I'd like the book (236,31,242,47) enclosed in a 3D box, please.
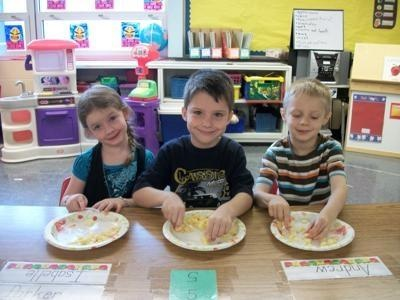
[{"bbox_3d":[0.512,-1.427,3.989,0.082,0.193,0.071,-1,19,3],"label":"book"}]

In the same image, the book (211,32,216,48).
[{"bbox_3d":[0.169,-1.438,4.021,0.075,0.193,0.190,-1,19,2],"label":"book"}]

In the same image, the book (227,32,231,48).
[{"bbox_3d":[0.376,-1.436,4.021,0.068,0.190,0.199,1,19,8],"label":"book"}]

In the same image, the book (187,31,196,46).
[{"bbox_3d":[-0.112,-1.434,4.004,0.096,0.197,0.124,3,19,16],"label":"book"}]

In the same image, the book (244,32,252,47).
[{"bbox_3d":[0.619,-1.441,4.065,0.127,0.200,0.381,1,18,9],"label":"book"}]

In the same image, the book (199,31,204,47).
[{"bbox_3d":[0.026,-1.427,3.994,0.075,0.191,0.148,-2,19,0],"label":"book"}]
